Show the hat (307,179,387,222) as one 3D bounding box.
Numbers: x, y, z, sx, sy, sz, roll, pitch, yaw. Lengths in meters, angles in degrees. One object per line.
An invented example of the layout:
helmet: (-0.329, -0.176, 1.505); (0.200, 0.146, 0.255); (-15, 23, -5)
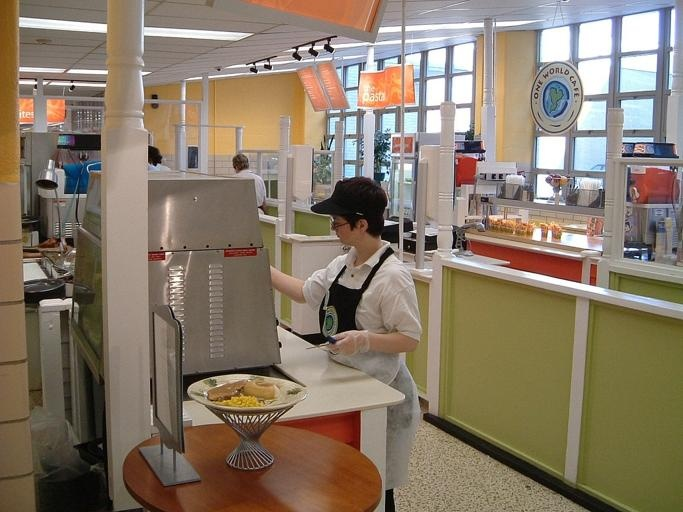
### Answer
hat: (0.046, -0.218, 2.228); (0.250, 0.133, 0.177); (5, 7, -5)

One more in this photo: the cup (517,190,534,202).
cup: (2.911, -0.951, 8.414); (0.153, 0.223, 0.295); (1, 6, 9)

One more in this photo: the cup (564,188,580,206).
cup: (3.523, -0.922, 8.138); (0.169, 0.259, 0.331); (5, 12, 17)

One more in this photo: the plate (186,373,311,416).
plate: (-0.244, 0.393, 1.502); (0.172, 0.025, 0.173); (-7, 14, -41)

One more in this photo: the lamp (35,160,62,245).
lamp: (-2.566, -0.445, 4.656); (0.176, 0.814, 1.958); (-4, 14, -28)
